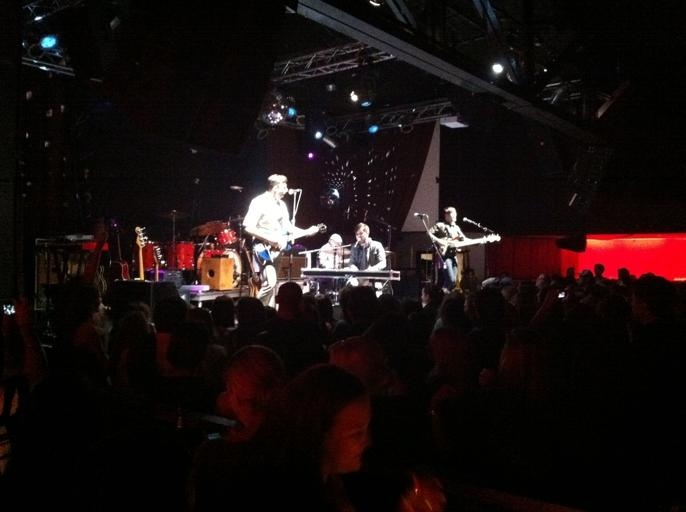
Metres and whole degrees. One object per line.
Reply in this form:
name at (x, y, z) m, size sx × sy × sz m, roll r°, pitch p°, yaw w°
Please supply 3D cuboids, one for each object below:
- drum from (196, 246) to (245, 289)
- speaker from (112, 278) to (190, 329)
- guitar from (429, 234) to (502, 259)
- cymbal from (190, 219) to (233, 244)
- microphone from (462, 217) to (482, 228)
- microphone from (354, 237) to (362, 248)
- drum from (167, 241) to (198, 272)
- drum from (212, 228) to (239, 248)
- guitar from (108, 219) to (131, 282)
drum at (-1.861, 0.203, 9.171) m, size 0.750 × 0.781 × 0.571 m, roll 1°, pitch 2°, yaw 23°
speaker at (-2.067, 0.457, 5.763) m, size 0.837 × 0.469 × 0.784 m, roll 2°, pitch -8°, yaw 5°
guitar at (2.386, -0.237, 11.471) m, size 0.784 × 0.414 × 1.607 m, roll 6°, pitch 2°, yaw 41°
cymbal at (-2.235, -0.380, 10.157) m, size 0.548 × 0.245 × 0.570 m, roll -22°, pitch -11°, yaw 37°
microphone at (2.817, -0.750, 12.914) m, size 0.425 × 0.115 × 0.113 m, roll 25°, pitch -39°, yaw 0°
microphone at (0.219, -0.215, 9.627) m, size 0.116 × 0.162 × 0.165 m, roll -1°, pitch 8°, yaw 8°
drum at (-2.755, 0.009, 10.043) m, size 0.439 × 0.466 × 0.455 m, roll 0°, pitch 2°, yaw 17°
drum at (-1.966, -0.316, 10.214) m, size 0.319 × 0.215 × 0.330 m, roll 2°, pitch 1°, yaw 0°
guitar at (-3.327, 0.072, 8.868) m, size 0.287 × 0.811 × 0.070 m, roll 2°, pitch 20°, yaw -30°
